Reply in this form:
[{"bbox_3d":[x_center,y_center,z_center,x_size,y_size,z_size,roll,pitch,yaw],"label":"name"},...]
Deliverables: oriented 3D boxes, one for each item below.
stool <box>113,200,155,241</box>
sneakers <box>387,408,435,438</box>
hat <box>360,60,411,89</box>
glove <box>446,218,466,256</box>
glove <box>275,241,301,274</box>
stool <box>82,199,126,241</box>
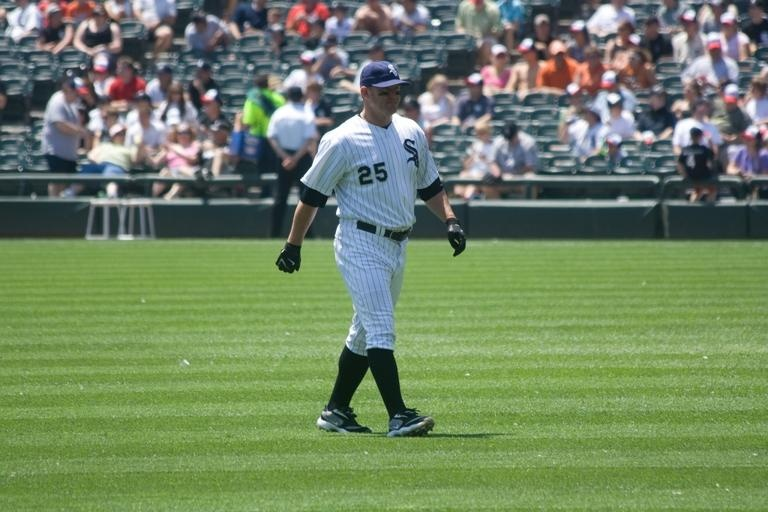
[{"bbox_3d":[-3.966,-0.566,29.724,0.723,0.553,0.646,0,1,0],"label":"stool"},{"bbox_3d":[0.281,1.918,21.411,0.576,0.235,0.250,-12,-14,27],"label":"sneakers"},{"bbox_3d":[-0.022,-2.080,21.575,0.456,0.195,0.323,0,8,32],"label":"hat"},{"bbox_3d":[0.805,-0.216,21.859,0.189,0.400,0.308,-13,-5,43],"label":"glove"},{"bbox_3d":[-1.095,0.027,21.732,0.347,0.314,0.126,30,5,-13],"label":"glove"},{"bbox_3d":[-4.483,-0.577,29.764,0.747,0.672,0.672,0,3,6],"label":"stool"}]
